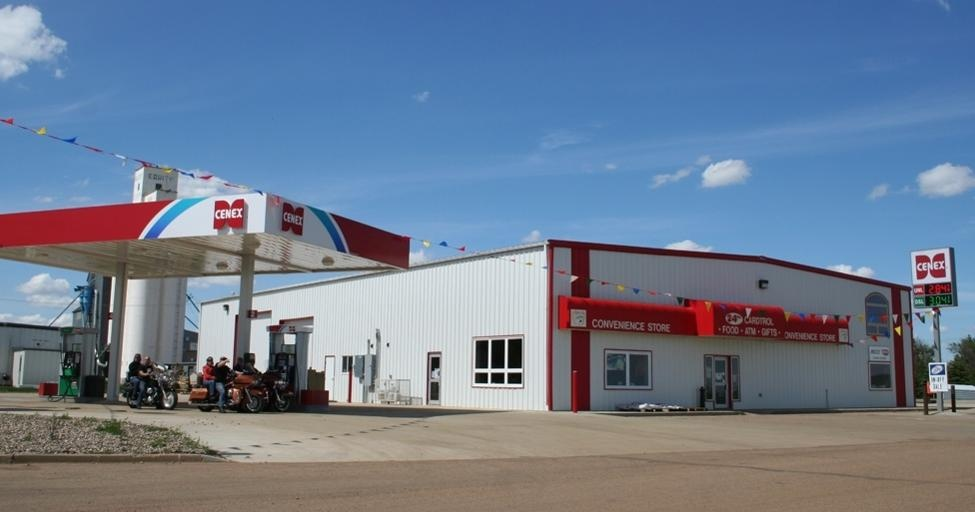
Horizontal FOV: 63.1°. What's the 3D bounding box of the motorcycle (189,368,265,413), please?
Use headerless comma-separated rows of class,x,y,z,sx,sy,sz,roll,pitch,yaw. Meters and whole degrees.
motorcycle,-10.427,5.358,31.983,3.358,1.825,1.506,-5,-12,19

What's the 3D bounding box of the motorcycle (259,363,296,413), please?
motorcycle,-8.686,5.480,32.416,0.973,1.680,1.457,-1,-4,45

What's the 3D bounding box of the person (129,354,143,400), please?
person,-14.178,4.993,32.069,0.631,2.032,0.781,3,-3,-22
